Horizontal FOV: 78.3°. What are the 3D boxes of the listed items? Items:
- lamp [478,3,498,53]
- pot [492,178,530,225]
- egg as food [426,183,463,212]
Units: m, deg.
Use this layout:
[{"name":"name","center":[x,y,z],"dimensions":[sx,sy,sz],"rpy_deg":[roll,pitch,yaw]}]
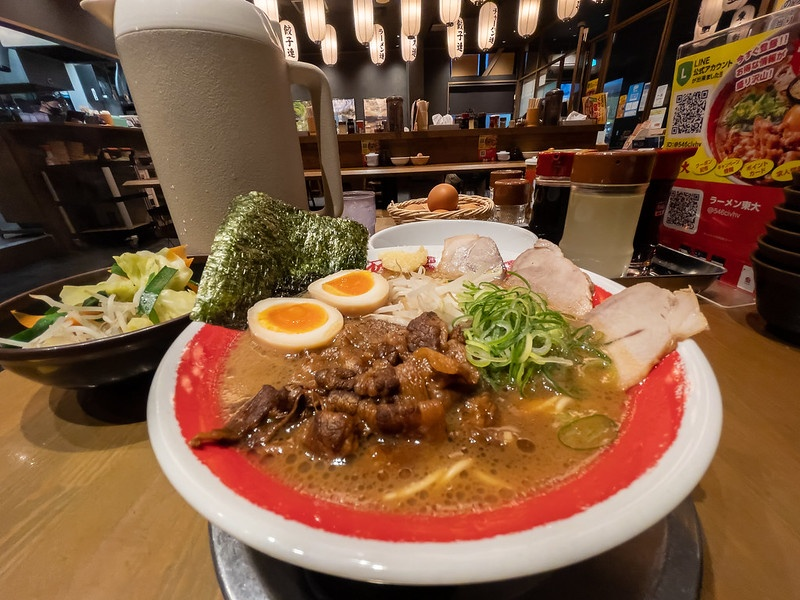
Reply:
[{"name":"lamp","center":[1.425,-4.415,8.040],"dimensions":[0.278,0.610,0.267],"rpy_deg":[-9,21,-42]},{"name":"pot","center":[0.801,-0.700,3.444],"dimensions":[0.317,0.337,0.315],"rpy_deg":[-2,20,1]},{"name":"egg as food","center":[0.300,-0.676,3.333],"dimensions":[0.199,0.237,0.193],"rpy_deg":[11,23,4]}]
